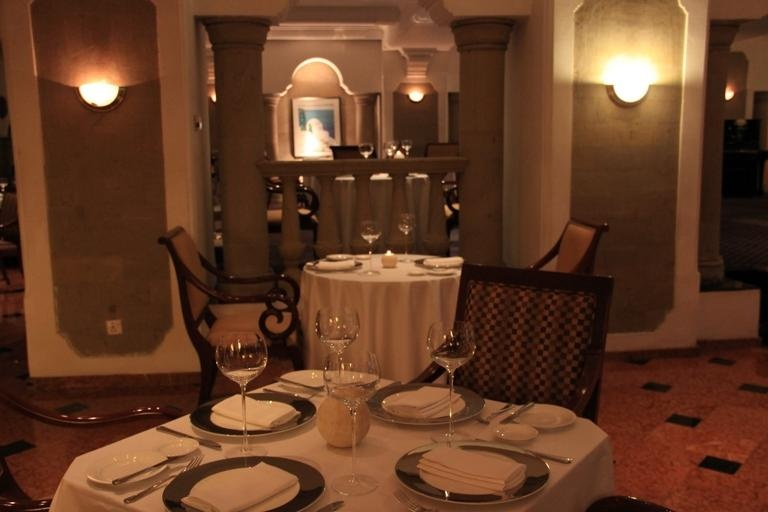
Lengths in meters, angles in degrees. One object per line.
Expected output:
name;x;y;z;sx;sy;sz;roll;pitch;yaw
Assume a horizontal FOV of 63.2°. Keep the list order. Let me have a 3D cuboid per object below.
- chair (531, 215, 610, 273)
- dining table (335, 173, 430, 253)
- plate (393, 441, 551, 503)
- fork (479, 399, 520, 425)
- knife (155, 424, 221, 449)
chair;1.403;-0.096;4.605;0.356;0.516;0.310;-5;17;-25
dining table;0.059;-0.542;6.871;0.859;0.854;0.884;4;9;32
plate;0.302;0.723;2.106;0.516;0.115;0.256;-3;11;-11
fork;0.438;0.612;2.409;0.051;0.037;0.254;15;15;28
knife;-0.714;0.670;2.297;0.226;0.012;0.031;10;48;26
